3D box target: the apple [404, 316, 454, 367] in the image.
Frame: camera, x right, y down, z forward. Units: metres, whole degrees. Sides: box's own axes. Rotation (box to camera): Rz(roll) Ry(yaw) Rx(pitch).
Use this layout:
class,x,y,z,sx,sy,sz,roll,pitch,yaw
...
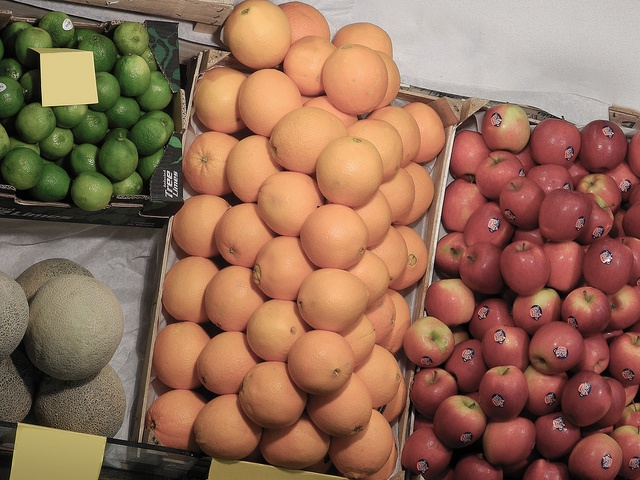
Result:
class,x,y,z,sx,sy,sz,roll,pitch,yaw
apple,0.409,0.388,1.854,0.154,0.175,0.193,2,61,3

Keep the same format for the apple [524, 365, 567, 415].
class,x,y,z,sx,sy,sz,roll,pitch,yaw
apple,0.784,0.527,1.752,0.127,0.176,0.143,-5,19,11

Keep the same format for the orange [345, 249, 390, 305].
class,x,y,z,sx,sy,sz,roll,pitch,yaw
orange,0.156,0.126,1.590,0.131,0.180,0.143,14,-22,-2

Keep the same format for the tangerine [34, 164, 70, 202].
class,x,y,z,sx,sy,sz,roll,pitch,yaw
tangerine,-0.817,-0.179,1.525,0.094,0.113,0.122,-4,28,-28

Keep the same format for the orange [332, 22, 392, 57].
class,x,y,z,sx,sy,sz,roll,pitch,yaw
orange,0.168,-0.782,1.910,0.180,0.200,0.185,10,32,27

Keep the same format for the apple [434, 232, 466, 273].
class,x,y,z,sx,sy,sz,roll,pitch,yaw
apple,0.502,0.043,2.040,0.138,0.136,0.159,51,6,7

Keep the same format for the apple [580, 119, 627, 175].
class,x,y,z,sx,sy,sz,roll,pitch,yaw
apple,1.160,-0.389,2.020,0.183,0.224,0.185,-3,0,38

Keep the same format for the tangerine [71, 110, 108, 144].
class,x,y,z,sx,sy,sz,roll,pitch,yaw
tangerine,-0.720,-0.352,1.548,0.092,0.105,0.101,-7,-18,-19

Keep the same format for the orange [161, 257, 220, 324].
class,x,y,z,sx,sy,sz,roll,pitch,yaw
orange,-0.415,0.178,1.715,0.184,0.196,0.255,4,66,-7

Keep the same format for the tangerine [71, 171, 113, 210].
class,x,y,z,sx,sy,sz,roll,pitch,yaw
tangerine,-0.683,-0.146,1.474,0.107,0.125,0.104,-3,0,-33

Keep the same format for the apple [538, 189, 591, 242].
class,x,y,z,sx,sy,sz,roll,pitch,yaw
apple,0.871,-0.092,1.770,0.140,0.186,0.160,4,13,-4

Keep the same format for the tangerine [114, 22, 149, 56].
class,x,y,z,sx,sy,sz,roll,pitch,yaw
tangerine,-0.619,-0.645,1.650,0.096,0.114,0.100,8,-1,39

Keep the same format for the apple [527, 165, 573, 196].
class,x,y,z,sx,sy,sz,roll,pitch,yaw
apple,0.894,-0.244,1.919,0.122,0.142,0.131,18,37,40

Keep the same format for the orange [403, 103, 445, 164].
class,x,y,z,sx,sy,sz,roll,pitch,yaw
orange,0.422,-0.436,1.981,0.181,0.221,0.241,12,35,12

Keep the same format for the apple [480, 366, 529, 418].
class,x,y,z,sx,sy,sz,roll,pitch,yaw
apple,0.634,0.535,1.688,0.142,0.188,0.157,-6,7,15

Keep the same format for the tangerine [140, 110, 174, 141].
class,x,y,z,sx,sy,sz,roll,pitch,yaw
tangerine,-0.523,-0.389,1.634,0.090,0.103,0.095,-18,-1,26

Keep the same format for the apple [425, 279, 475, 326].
class,x,y,z,sx,sy,sz,roll,pitch,yaw
apple,0.498,0.243,1.941,0.158,0.180,0.165,15,-15,-30

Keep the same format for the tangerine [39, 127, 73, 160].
class,x,y,z,sx,sy,sz,roll,pitch,yaw
tangerine,-0.806,-0.292,1.502,0.086,0.092,0.087,-16,-10,-40

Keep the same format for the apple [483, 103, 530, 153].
class,x,y,z,sx,sy,sz,roll,pitch,yaw
apple,0.784,-0.482,2.040,0.156,0.198,0.170,-28,31,-5

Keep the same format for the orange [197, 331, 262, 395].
class,x,y,z,sx,sy,sz,roll,pitch,yaw
orange,-0.254,0.370,1.540,0.162,0.175,0.228,14,61,1

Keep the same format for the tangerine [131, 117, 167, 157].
class,x,y,z,sx,sy,sz,roll,pitch,yaw
tangerine,-0.554,-0.325,1.588,0.116,0.131,0.059,4,30,-25

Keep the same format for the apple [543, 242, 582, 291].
class,x,y,z,sx,sy,sz,roll,pitch,yaw
apple,0.911,0.071,1.842,0.151,0.205,0.163,-2,20,29

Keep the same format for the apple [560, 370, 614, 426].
class,x,y,z,sx,sy,sz,roll,pitch,yaw
apple,0.878,0.522,1.631,0.114,0.141,0.101,13,29,-10

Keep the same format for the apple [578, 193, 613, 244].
class,x,y,z,sx,sy,sz,roll,pitch,yaw
apple,0.996,-0.074,1.785,0.113,0.143,0.118,35,-6,-7

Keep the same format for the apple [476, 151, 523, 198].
class,x,y,z,sx,sy,sz,roll,pitch,yaw
apple,0.701,-0.246,1.983,0.184,0.172,0.202,7,3,-2

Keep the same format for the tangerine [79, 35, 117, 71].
class,x,y,z,sx,sy,sz,roll,pitch,yaw
tangerine,-0.709,-0.590,1.558,0.078,0.086,0.104,-22,76,-25

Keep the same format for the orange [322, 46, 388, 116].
class,x,y,z,sx,sy,sz,roll,pitch,yaw
orange,0.125,-0.563,1.712,0.226,0.266,0.225,15,26,38

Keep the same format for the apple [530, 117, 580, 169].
class,x,y,z,sx,sy,sz,roll,pitch,yaw
apple,0.936,-0.387,1.995,0.173,0.239,0.182,16,-9,32

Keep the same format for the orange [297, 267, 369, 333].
class,x,y,z,sx,sy,sz,roll,pitch,yaw
orange,0.037,0.163,1.386,0.190,0.188,0.177,-8,19,-7

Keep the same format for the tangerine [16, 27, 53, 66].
class,x,y,z,sx,sy,sz,roll,pitch,yaw
tangerine,-0.896,-0.592,1.538,0.103,0.115,0.086,-3,35,-35

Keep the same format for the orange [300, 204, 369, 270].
class,x,y,z,sx,sy,sz,roll,pitch,yaw
orange,0.041,-0.011,1.509,0.171,0.198,0.172,9,-3,-1

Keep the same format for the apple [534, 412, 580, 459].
class,x,y,z,sx,sy,sz,roll,pitch,yaw
apple,0.809,0.663,1.667,0.108,0.122,0.137,-7,23,-10

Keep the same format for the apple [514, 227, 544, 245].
class,x,y,z,sx,sy,sz,roll,pitch,yaw
apple,0.798,-0.015,1.867,0.068,0.079,0.073,-2,-8,5

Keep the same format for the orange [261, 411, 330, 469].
class,x,y,z,sx,sy,sz,roll,pitch,yaw
orange,-0.065,0.598,1.455,0.150,0.180,0.161,6,-1,-10

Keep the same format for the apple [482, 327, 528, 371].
class,x,y,z,sx,sy,sz,roll,pitch,yaw
apple,0.677,0.388,1.788,0.152,0.183,0.160,6,9,36

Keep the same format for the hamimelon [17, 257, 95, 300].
class,x,y,z,sx,sy,sz,roll,pitch,yaw
hamimelon,-0.818,0.099,1.514,0.135,0.127,0.191,-7,21,-12

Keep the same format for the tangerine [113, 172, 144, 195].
class,x,y,z,sx,sy,sz,roll,pitch,yaw
tangerine,-0.613,-0.171,1.569,0.068,0.074,0.068,-31,3,16

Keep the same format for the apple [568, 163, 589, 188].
class,x,y,z,sx,sy,sz,roll,pitch,yaw
apple,1.049,-0.259,1.995,0.058,0.066,0.063,41,40,-35

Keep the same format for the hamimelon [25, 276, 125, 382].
class,x,y,z,sx,sy,sz,roll,pitch,yaw
hamimelon,-0.669,0.238,1.337,0.239,0.238,0.171,11,29,-14

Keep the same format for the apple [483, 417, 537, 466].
class,x,y,z,sx,sy,sz,roll,pitch,yaw
apple,0.654,0.697,1.711,0.140,0.181,0.161,-5,7,21

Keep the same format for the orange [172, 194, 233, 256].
class,x,y,z,sx,sy,sz,roll,pitch,yaw
orange,-0.394,-0.037,1.757,0.183,0.186,0.240,20,54,-33

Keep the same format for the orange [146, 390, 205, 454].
class,x,y,z,sx,sy,sz,roll,pitch,yaw
orange,-0.449,0.559,1.535,0.178,0.180,0.164,-9,22,-16
